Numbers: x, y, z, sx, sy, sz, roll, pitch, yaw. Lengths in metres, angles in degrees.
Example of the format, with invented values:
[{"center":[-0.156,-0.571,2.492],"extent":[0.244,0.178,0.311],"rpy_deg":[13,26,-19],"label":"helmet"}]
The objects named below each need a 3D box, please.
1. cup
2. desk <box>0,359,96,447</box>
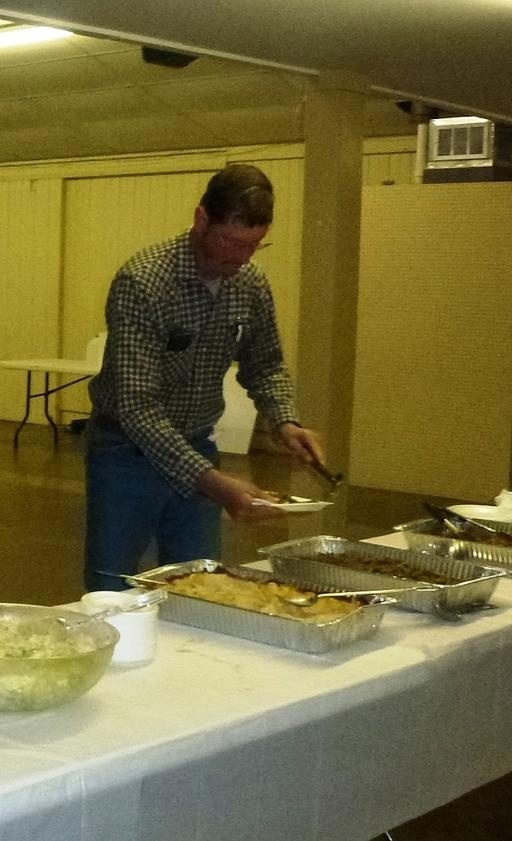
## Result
[{"center":[-0.158,0.252,0.921],"extent":[0.073,0.075,0.117],"rpy_deg":[1,2,15],"label":"cup"},{"center":[-2.035,-0.159,7.155],"extent":[0.998,0.771,0.776],"rpy_deg":[2,2,6],"label":"desk"}]
